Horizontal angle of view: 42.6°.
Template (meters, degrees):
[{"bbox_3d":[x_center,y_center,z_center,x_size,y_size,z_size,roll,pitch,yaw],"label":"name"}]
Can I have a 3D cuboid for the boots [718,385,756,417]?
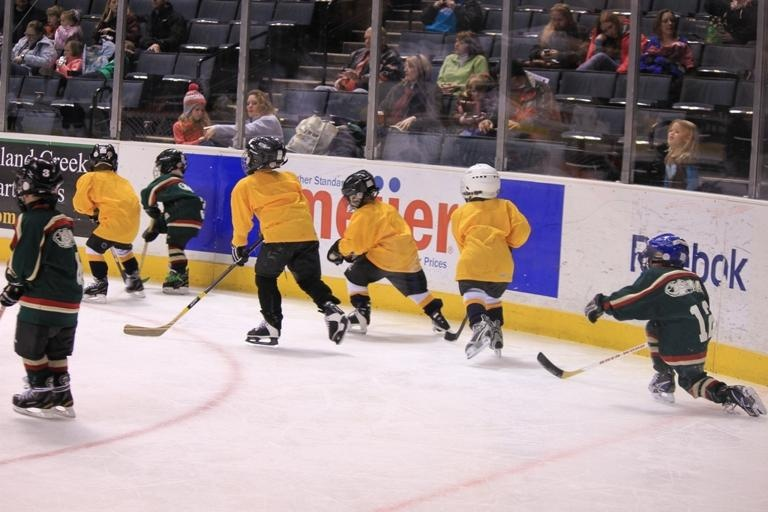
[{"bbox_3d":[2.302,0.924,6.342,0.149,0.096,0.298,-15,33,-15],"label":"boots"}]

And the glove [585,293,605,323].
[{"bbox_3d":[1.416,0.357,6.656,0.121,0.198,0.122,2,31,5],"label":"glove"}]

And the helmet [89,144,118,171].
[{"bbox_3d":[-2.542,-0.904,8.950,0.257,0.253,0.290,2,20,-5],"label":"helmet"}]

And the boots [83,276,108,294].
[{"bbox_3d":[-2.533,0.274,8.696,0.187,0.161,0.183,4,4,-12],"label":"boots"}]

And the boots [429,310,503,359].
[{"bbox_3d":[0.692,0.594,7.470,0.229,0.238,0.594,0,3,-19],"label":"boots"}]

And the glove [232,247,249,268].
[{"bbox_3d":[-1.160,0.004,7.974,0.142,0.182,0.111,17,46,0],"label":"glove"}]

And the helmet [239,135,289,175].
[{"bbox_3d":[-0.953,-0.773,7.761,0.373,0.288,0.306,12,8,31],"label":"helmet"}]

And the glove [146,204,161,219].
[{"bbox_3d":[-2.118,-0.408,9.087,0.145,0.145,0.137,4,4,-11],"label":"glove"}]

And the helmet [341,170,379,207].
[{"bbox_3d":[-0.166,-0.558,7.909,0.359,0.282,0.242,-9,25,9],"label":"helmet"}]

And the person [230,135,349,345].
[{"bbox_3d":[-0.728,-0.112,7.603,0.934,1.578,0.525,6,4,-3],"label":"person"}]

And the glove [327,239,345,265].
[{"bbox_3d":[-0.378,-0.036,8.061,0.175,0.182,0.079,15,-5,-19],"label":"glove"}]

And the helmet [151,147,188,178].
[{"bbox_3d":[-1.959,-0.849,9.050,0.326,0.244,0.222,9,14,-1],"label":"helmet"}]

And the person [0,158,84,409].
[{"bbox_3d":[-2.063,0.196,5.981,0.480,1.548,0.251,5,5,-16],"label":"person"}]

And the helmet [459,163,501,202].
[{"bbox_3d":[0.766,-0.563,7.691,0.310,0.302,0.345,-8,8,-15],"label":"helmet"}]

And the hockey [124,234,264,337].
[{"bbox_3d":[-1.637,0.270,8.683,1.368,0.252,0.135,-31,-17,-12],"label":"hockey"}]

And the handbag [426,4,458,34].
[{"bbox_3d":[0.508,-2.037,8.462,0.276,0.221,0.153,16,7,34],"label":"handbag"}]

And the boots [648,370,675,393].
[{"bbox_3d":[1.883,0.865,6.681,0.132,0.139,0.173,-9,22,-35],"label":"boots"}]

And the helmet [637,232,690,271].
[{"bbox_3d":[1.866,-0.006,6.611,0.347,0.250,0.247,6,-6,11],"label":"helmet"}]

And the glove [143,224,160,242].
[{"bbox_3d":[-2.162,-0.211,9.181,0.126,0.176,0.077,48,-3,-19],"label":"glove"}]

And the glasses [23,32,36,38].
[{"bbox_3d":[-3.616,-2.259,10.096,0.071,0.035,0.080,0,-6,3],"label":"glasses"}]

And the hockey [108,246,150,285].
[{"bbox_3d":[-2.345,0.095,9.424,0.467,0.371,0.134,-3,-7,3],"label":"hockey"}]

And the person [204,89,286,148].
[{"bbox_3d":[-1.303,-1.308,9.381,0.474,0.505,0.765,20,17,41],"label":"person"}]
